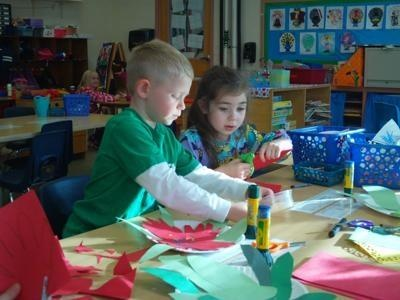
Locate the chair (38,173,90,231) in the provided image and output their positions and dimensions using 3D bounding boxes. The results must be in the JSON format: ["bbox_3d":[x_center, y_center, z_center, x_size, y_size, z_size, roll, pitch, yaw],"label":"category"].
[{"bbox_3d":[-0.625,0.203,1.574,0.229,0.294,0.224,7,11,43],"label":"chair"}]

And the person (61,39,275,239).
[{"bbox_3d":[-0.187,-0.169,1.775,0.935,1.415,0.575,-3,11,4],"label":"person"}]

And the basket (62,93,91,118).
[{"bbox_3d":[-1.356,-0.502,3.664,0.360,0.272,0.213,-1,14,-12],"label":"basket"}]

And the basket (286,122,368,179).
[{"bbox_3d":[0.609,0.015,1.694,0.274,0.229,0.325,6,13,40],"label":"basket"}]
